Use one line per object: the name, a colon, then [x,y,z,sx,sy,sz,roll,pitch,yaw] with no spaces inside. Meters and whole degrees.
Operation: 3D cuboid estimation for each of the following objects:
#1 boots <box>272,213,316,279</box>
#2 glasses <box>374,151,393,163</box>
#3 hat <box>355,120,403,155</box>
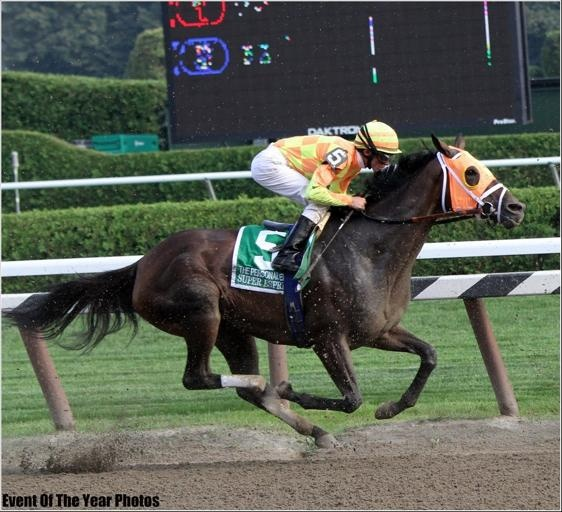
boots: [0.069,-0.053,5.961,0.115,0.304,0.183,27,2,-44]
glasses: [0.539,-0.525,6.029,0.063,0.020,0.063,16,8,-28]
hat: [0.514,-0.646,6.059,0.272,0.139,0.190,12,21,17]
